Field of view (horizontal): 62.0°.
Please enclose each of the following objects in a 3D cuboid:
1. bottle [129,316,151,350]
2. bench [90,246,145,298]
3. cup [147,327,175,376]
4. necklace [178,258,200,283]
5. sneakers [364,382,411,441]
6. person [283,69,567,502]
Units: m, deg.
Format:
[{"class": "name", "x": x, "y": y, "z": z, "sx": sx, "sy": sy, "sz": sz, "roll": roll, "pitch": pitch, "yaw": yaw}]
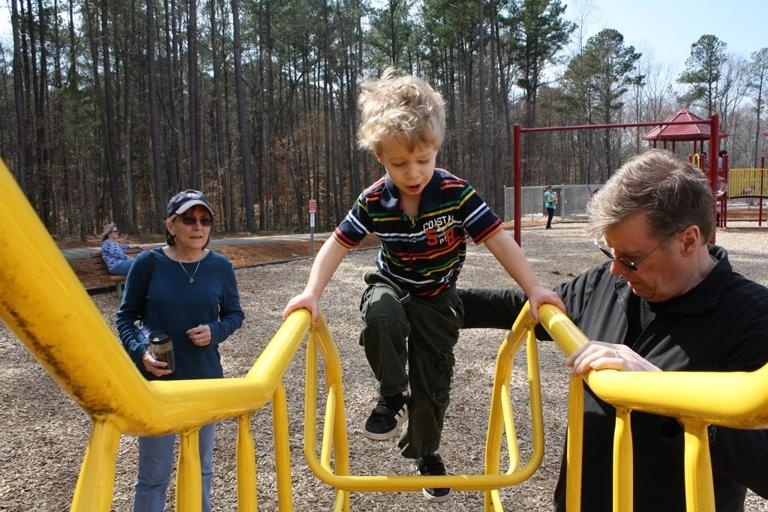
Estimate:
[{"class": "bottle", "x": -1.280, "y": 0.419, "z": 3.394, "sx": 0.105, "sy": 0.054, "sz": 0.155, "roll": -1, "pitch": 34, "yaw": -14}, {"class": "bench", "x": -4.303, "y": 0.224, "z": 10.064, "sx": 0.481, "sy": 0.691, "sz": 1.518, "roll": -14, "pitch": 11, "yaw": -21}, {"class": "cup", "x": -1.136, "y": 0.495, "z": 3.260, "sx": 0.122, "sy": 0.215, "sz": 0.170, "roll": -8, "pitch": 17, "yaw": -21}, {"class": "necklace", "x": -1.069, "y": 0.086, "z": 3.489, "sx": 0.133, "sy": 0.029, "sz": 0.166, "roll": 2, "pitch": 46, "yaw": -10}, {"class": "sneakers", "x": 0.011, "y": 0.754, "z": 2.977, "sx": 0.111, "sy": 0.165, "sz": 0.344, "roll": -1, "pitch": -9, "yaw": 18}, {"class": "person", "x": 0.117, "y": 0.236, "z": 3.057, "sx": 1.137, "sy": 2.082, "sz": 0.771, "roll": -2, "pitch": 11, "yaw": -7}]
